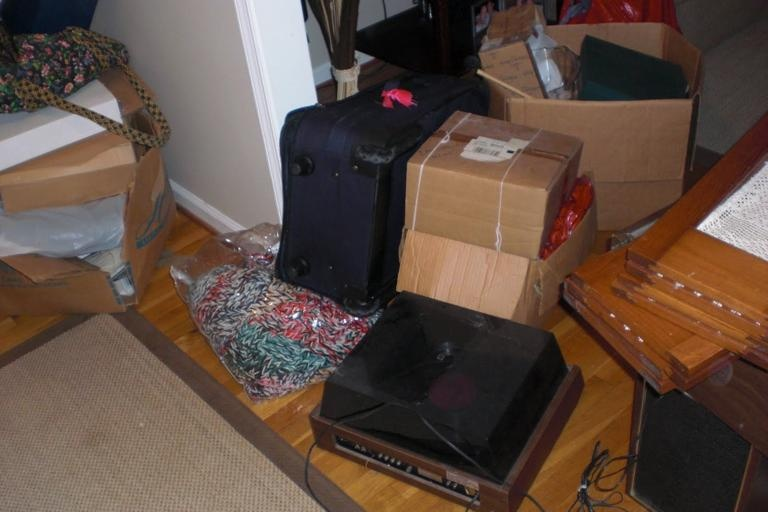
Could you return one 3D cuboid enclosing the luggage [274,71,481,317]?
[{"bbox_3d":[0.069,-0.247,2.594,0.537,0.708,0.936,23,31,38],"label":"luggage"}]
